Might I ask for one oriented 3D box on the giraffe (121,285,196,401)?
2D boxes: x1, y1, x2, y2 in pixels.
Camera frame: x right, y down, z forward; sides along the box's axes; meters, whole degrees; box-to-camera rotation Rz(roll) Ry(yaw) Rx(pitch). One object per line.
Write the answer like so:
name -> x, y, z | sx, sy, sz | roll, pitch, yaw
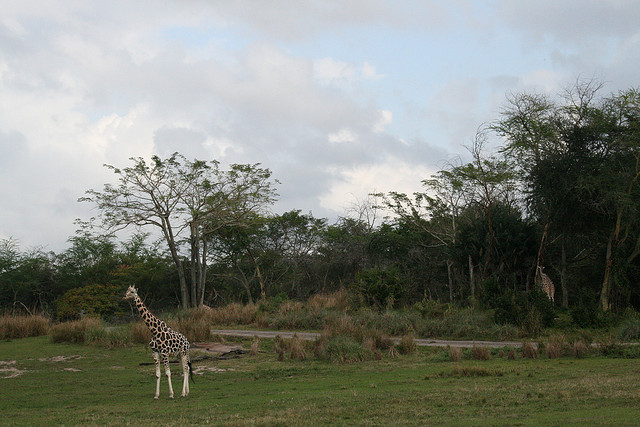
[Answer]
giraffe -> -7.523, 6.180, 32.608 | 3.150, 4.816, 9.331 | 0, -11, -11
